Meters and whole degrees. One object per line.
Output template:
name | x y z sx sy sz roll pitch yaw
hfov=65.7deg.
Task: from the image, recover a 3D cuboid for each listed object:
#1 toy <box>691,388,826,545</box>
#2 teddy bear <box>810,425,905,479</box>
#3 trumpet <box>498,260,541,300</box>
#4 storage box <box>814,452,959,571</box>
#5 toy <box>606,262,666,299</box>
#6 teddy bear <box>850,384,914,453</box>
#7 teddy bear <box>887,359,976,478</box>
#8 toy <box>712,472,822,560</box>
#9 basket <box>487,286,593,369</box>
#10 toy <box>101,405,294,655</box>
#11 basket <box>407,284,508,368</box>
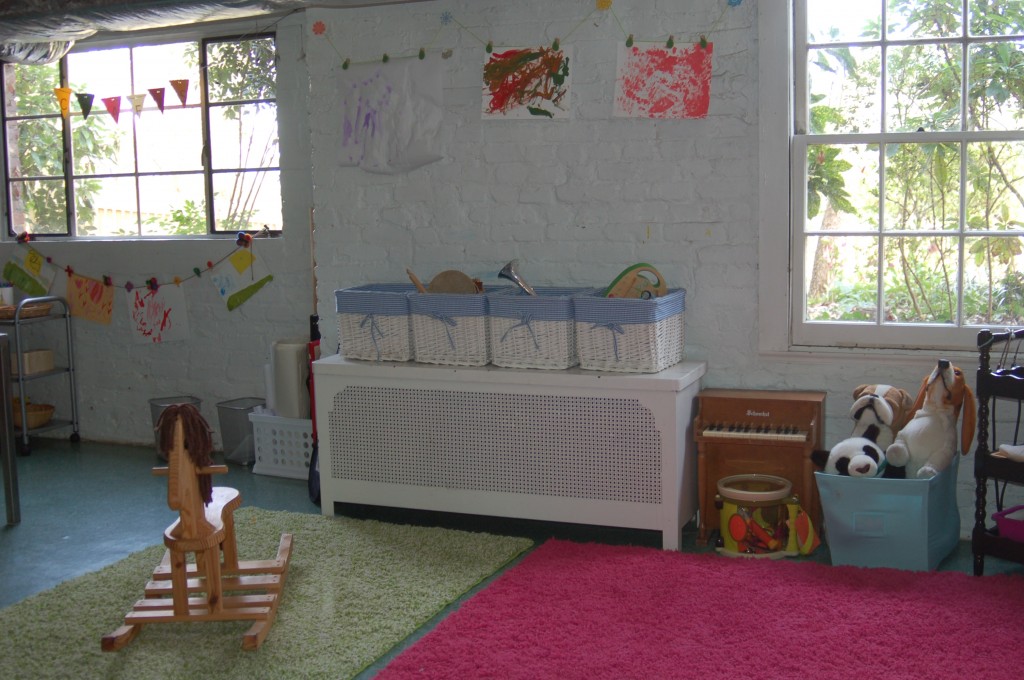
toy | 1.355 0.672 4.323 0.629 0.750 0.396 1 12 28
teddy bear | 1.728 0.611 3.972 0.336 0.276 0.402 -6 2 2
trumpet | 0.057 -0.336 4.537 0.266 0.176 0.116 19 -7 3
storage box | 1.902 0.855 3.991 0.484 0.412 0.608 -2 0 29
toy | 0.679 -0.312 4.290 0.248 0.151 0.063 1 4 8
teddy bear | 1.873 0.402 4.040 0.289 0.352 0.286 8 -9 42
teddy bear | 2.086 0.424 3.910 0.381 0.608 0.356 14 8 35
toy | 1.289 0.889 4.030 0.479 0.327 0.396 0 0 9
basket | 0.273 -0.035 4.444 0.558 0.329 0.536 4 0 -38
toy | -1.422 0.785 3.623 0.697 0.938 1.097 -2 7 -5
basket | -0.311 -0.058 4.443 0.355 0.331 0.466 2 3 34
